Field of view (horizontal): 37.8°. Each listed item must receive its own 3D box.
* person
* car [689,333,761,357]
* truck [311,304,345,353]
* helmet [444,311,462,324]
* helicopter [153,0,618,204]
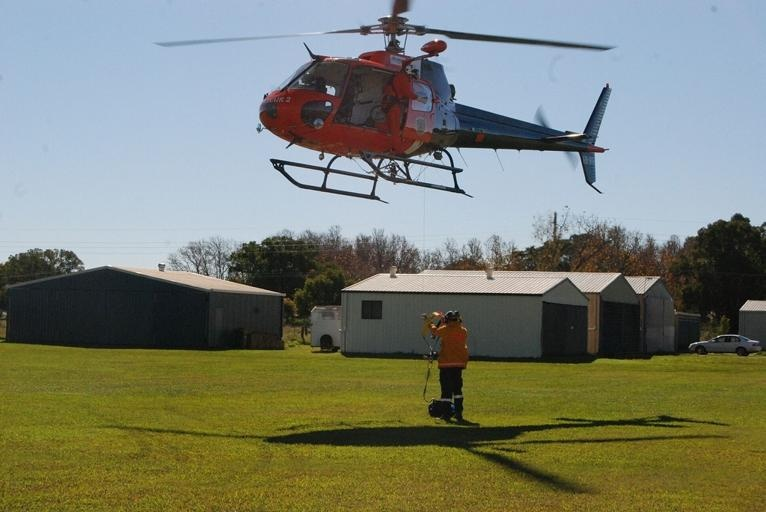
[{"bbox_3d":[1.527,2.536,26.072,0.858,2.477,1.202,1,9,1],"label":"person"},{"bbox_3d":[17.125,4.472,55.708,3.129,0.970,1.326,2,-3,21],"label":"car"},{"bbox_3d":[-2.422,3.177,48.926,1.809,2.124,1.671,-3,-6,17],"label":"truck"},{"bbox_3d":[1.648,1.421,26.254,0.348,0.245,0.269,-4,-2,2],"label":"helmet"},{"bbox_3d":[1.622,-4.206,33.722,9.652,3.356,9.758,8,-1,-31],"label":"helicopter"}]
